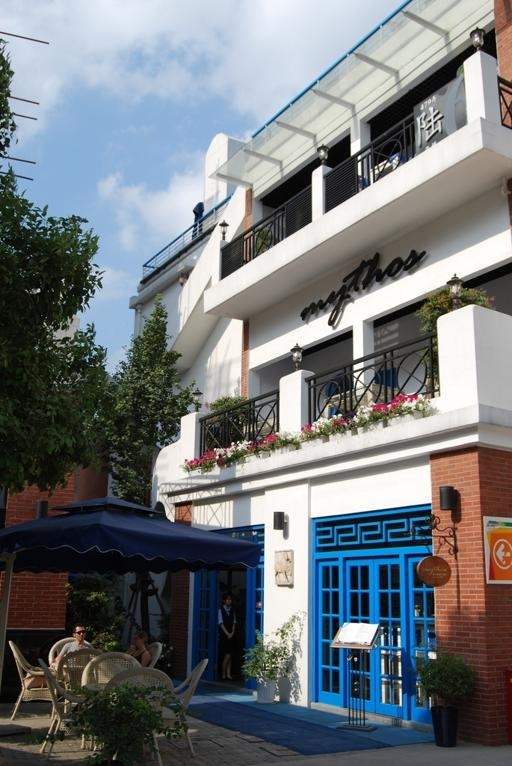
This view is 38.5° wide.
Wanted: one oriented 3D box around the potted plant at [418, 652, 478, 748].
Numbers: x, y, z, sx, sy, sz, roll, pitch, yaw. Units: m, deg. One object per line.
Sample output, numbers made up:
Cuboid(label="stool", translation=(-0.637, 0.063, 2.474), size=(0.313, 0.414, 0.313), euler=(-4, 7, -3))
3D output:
Cuboid(label="potted plant", translation=(2.033, 3.358, 7.800), size=(0.470, 0.906, 0.587), euler=(7, -19, -12))

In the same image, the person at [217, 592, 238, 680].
Cuboid(label="person", translation=(-0.549, 4.771, 13.779), size=(0.367, 1.554, 0.977), euler=(3, -19, -1))

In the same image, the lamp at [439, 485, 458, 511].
Cuboid(label="lamp", translation=(2.193, 1.323, 8.375), size=(0.188, 0.270, 0.182), euler=(15, -22, -30))

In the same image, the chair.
Cuboid(label="chair", translation=(-1.305, 3.060, 7.002), size=(1.538, 0.888, 2.384), euler=(7, -20, -12))

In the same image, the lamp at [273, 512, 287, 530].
Cuboid(label="lamp", translation=(0.373, 2.212, 11.723), size=(0.193, 0.284, 0.211), euler=(13, -22, -28))

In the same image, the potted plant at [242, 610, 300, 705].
Cuboid(label="potted plant", translation=(0.117, 4.235, 11.263), size=(0.789, 1.212, 0.698), euler=(12, -17, -43))
